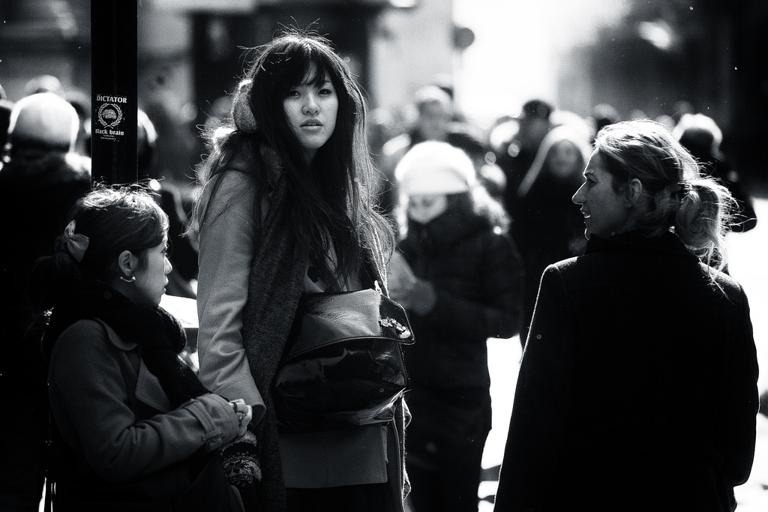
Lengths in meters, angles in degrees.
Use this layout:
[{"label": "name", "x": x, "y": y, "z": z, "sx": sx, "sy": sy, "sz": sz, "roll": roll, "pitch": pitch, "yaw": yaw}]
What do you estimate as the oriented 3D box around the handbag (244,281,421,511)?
[{"label": "handbag", "x": -0.151, "y": 0.614, "z": 5.397, "sx": 0.860, "sy": 1.181, "sz": 0.877, "roll": -2, "pitch": -1, "yaw": -4}]
